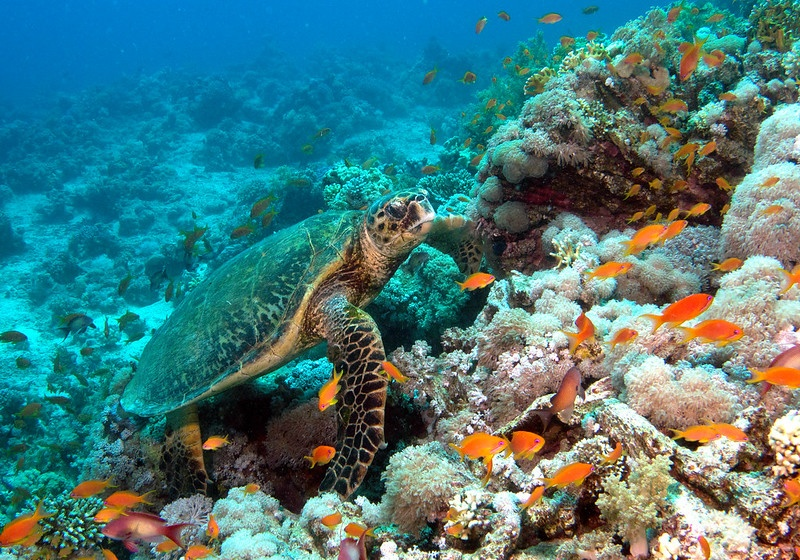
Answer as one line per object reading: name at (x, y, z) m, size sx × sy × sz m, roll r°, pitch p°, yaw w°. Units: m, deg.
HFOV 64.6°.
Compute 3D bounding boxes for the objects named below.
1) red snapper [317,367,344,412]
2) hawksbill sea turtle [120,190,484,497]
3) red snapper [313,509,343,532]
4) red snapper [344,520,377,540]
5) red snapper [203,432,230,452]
red snapper at (-1.226, 1.917, 11.161) m, size 0.449 × 0.918 × 0.284 m, roll 10°, pitch 5°, yaw -14°
hawksbill sea turtle at (-2.759, 0.699, 13.836) m, size 8.251 × 2.922 × 7.984 m, roll -20°, pitch 26°, yaw 21°
red snapper at (-1.201, 4.002, 10.577) m, size 0.438 × 0.339 × 0.182 m, roll -5°, pitch 18°, yaw 0°
red snapper at (-0.614, 4.062, 10.303) m, size 0.684 × 0.190 × 0.393 m, roll -3°, pitch 68°, yaw 17°
red snapper at (-3.418, 3.030, 11.844) m, size 0.387 × 0.808 × 0.201 m, roll -30°, pitch 83°, yaw 0°
